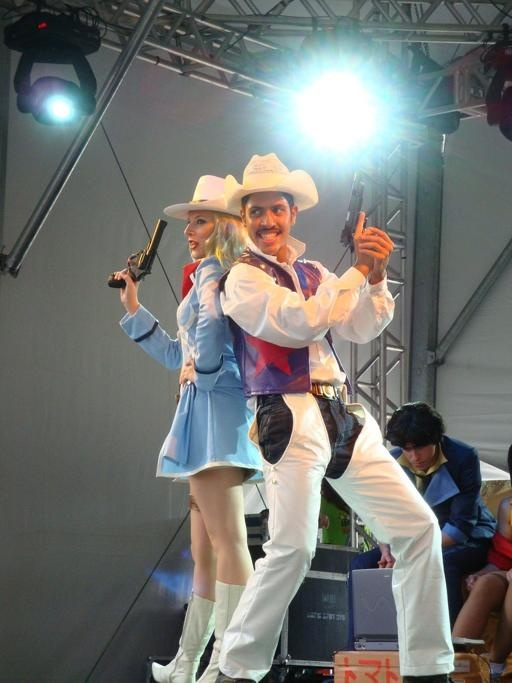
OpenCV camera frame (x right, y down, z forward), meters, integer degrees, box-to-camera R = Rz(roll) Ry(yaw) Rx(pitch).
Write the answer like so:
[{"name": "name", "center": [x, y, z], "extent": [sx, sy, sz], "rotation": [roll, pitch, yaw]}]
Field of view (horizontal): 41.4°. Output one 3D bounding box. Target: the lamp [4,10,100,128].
[{"name": "lamp", "center": [-1.278, -1.721, 4.233], "extent": [0.539, 0.561, 0.495], "rotation": [7, -12, -8]}]

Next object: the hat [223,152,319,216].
[{"name": "hat", "center": [0.095, -0.524, 2.176], "extent": [0.198, 0.089, 0.251], "rotation": [-10, -10, 40]}]
